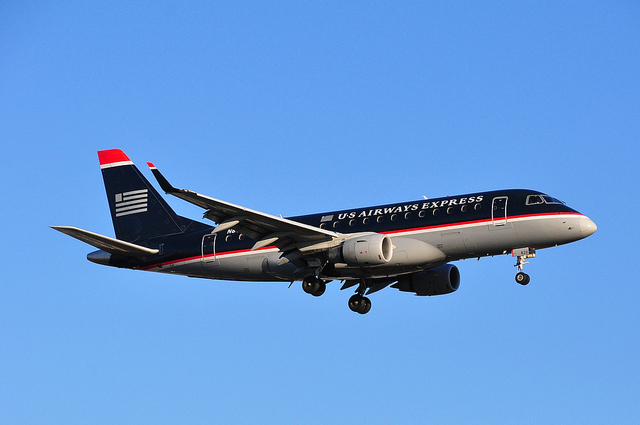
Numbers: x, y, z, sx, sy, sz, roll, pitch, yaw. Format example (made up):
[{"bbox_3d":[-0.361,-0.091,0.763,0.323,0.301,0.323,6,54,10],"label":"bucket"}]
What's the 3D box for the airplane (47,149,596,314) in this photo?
[{"bbox_3d":[0.093,1.051,39.815,12.639,3.556,11.502,-7,-10,22],"label":"airplane"}]
